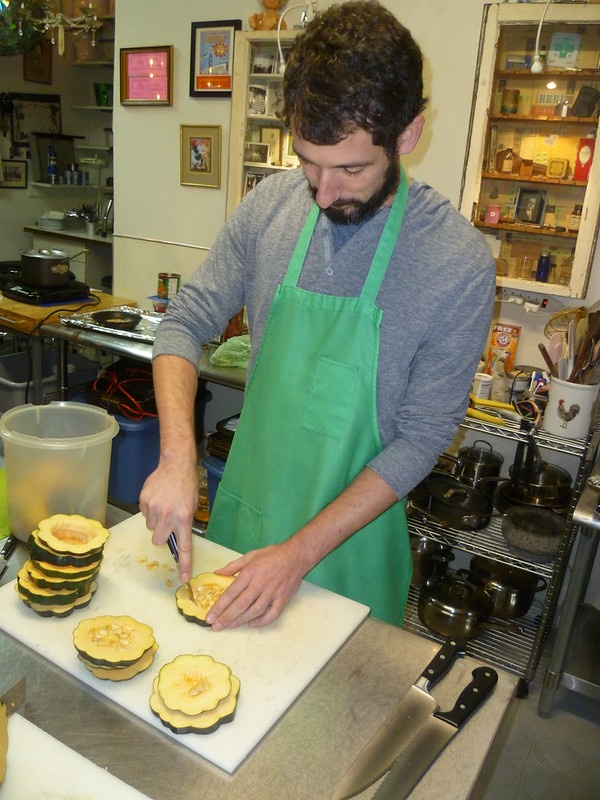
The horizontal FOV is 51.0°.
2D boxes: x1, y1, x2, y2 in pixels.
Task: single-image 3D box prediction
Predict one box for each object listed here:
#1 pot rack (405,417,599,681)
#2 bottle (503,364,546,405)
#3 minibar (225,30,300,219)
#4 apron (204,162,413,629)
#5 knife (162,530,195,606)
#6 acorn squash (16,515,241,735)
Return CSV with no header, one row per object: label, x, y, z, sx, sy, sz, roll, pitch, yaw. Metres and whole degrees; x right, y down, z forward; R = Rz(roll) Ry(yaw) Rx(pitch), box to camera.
pot rack,0.784,0.445,2.410,0.716,0.939,0.910,8,22,7
bottle,0.890,-0.065,2.459,0.160,0.052,0.153,-2,16,1
minibar,-0.197,-1.388,3.064,0.359,1.130,0.168,7,23,15
apron,0.050,-0.009,1.244,0.430,0.896,0.334,9,9,21
knife,-0.184,0.225,0.940,0.024,0.161,0.019,-15,-13,-10
acorn squash,-0.199,0.260,0.850,0.410,0.089,0.250,17,19,32
